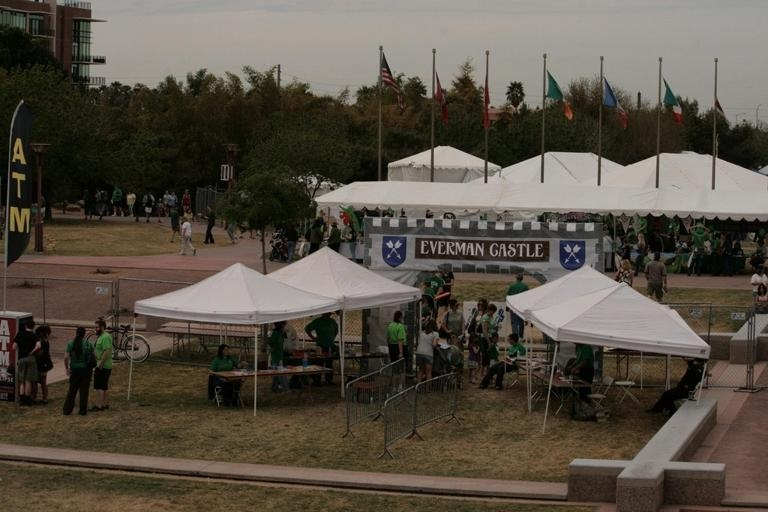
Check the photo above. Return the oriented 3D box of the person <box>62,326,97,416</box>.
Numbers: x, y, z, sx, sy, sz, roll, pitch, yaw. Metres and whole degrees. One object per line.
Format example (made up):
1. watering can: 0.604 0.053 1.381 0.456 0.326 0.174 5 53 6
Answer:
1. person: -10.090 3.909 48.122 0.947 2.837 0.900 1 2 -19

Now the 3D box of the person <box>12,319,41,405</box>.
1. person: -11.968 3.605 48.816 0.818 2.835 0.656 1 -8 -4

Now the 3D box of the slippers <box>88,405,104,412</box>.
1. slippers: -9.553 5.142 48.368 0.417 0.194 0.173 4 0 5

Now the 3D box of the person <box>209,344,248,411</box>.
1. person: -5.308 4.103 49.077 1.076 2.072 1.198 0 2 -11

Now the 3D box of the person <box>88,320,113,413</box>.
1. person: -9.473 3.690 48.410 0.888 2.919 0.932 3 -7 -16

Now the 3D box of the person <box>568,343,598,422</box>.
1. person: 6.665 4.247 48.693 0.977 2.451 1.207 1 2 6

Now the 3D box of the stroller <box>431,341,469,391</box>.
1. stroller: 2.241 3.704 50.673 1.086 1.434 0.777 9 24 34
